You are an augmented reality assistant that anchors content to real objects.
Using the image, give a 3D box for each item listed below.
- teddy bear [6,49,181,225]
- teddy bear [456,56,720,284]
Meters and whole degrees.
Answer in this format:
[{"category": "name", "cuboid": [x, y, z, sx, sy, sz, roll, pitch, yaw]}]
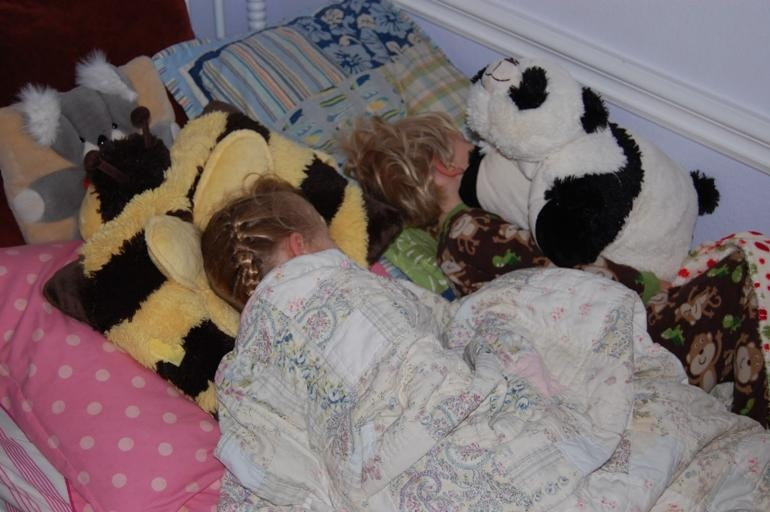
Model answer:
[{"category": "teddy bear", "cuboid": [-0.836, -0.285, 2.214, 0.460, 0.467, 0.136, -32, 19, -33]}, {"category": "teddy bear", "cuboid": [0.512, -0.189, 2.275, 0.721, 0.400, 0.569, 25, 78, 6]}]
